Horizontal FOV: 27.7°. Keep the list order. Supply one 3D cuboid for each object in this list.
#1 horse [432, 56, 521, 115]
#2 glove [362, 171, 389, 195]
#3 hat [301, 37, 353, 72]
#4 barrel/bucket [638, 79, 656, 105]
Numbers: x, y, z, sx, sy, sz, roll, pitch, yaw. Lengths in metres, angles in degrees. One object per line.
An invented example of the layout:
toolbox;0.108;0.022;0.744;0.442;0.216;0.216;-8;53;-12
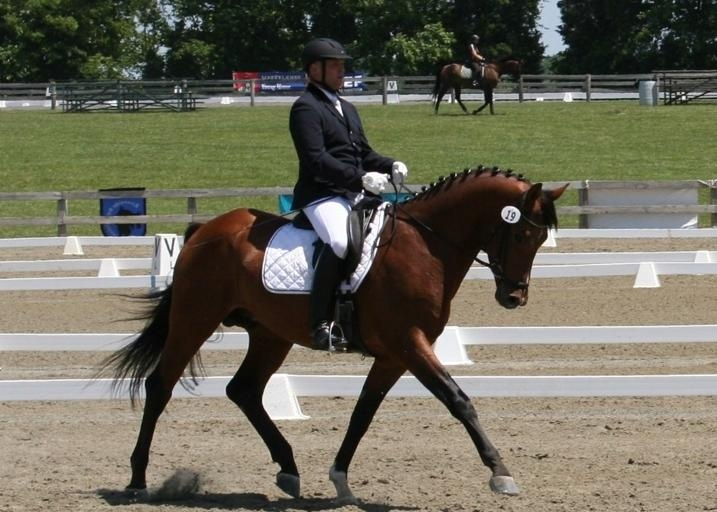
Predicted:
horse;3.991;-5.537;47.452;3.210;1.772;0.852;4;2;32
glove;0.304;-1.290;25.807;0.385;0.409;0.182;16;-1;-5
hat;-0.559;-3.647;26.142;0.827;0.324;0.519;-3;6;15
barrel/bucket;10.331;-5.811;51.870;0.553;0.821;0.582;-1;11;0
